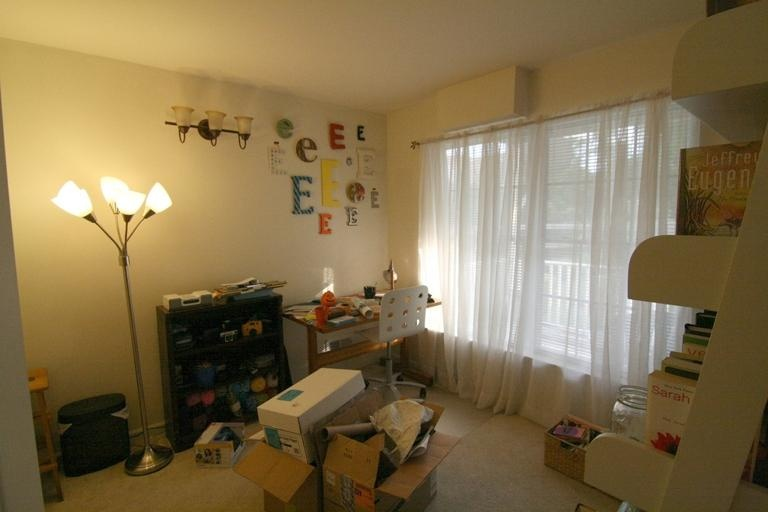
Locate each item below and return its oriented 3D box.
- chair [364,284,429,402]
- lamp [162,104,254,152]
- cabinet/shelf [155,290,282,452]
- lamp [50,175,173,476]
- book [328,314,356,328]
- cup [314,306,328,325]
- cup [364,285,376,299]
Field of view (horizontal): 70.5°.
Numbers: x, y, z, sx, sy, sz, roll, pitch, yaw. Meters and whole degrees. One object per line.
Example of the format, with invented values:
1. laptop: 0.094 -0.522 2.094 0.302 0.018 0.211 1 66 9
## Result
1. chair: 0.016 0.752 4.738 0.639 1.019 0.661 -6 7 -27
2. lamp: -1.328 -0.990 4.242 0.704 0.257 0.201 -2 11 -40
3. cabinet/shelf: -1.279 0.882 4.063 0.400 1.275 1.078 -1 3 42
4. lamp: -1.844 0.474 3.876 0.754 2.054 0.614 -4 7 -21
5. book: -0.320 0.521 4.329 0.124 0.068 0.318 3 7 39
6. cup: -0.483 0.474 4.249 0.122 0.141 0.123 0 3 0
7. cup: -0.125 0.341 4.976 0.108 0.098 0.089 -3 5 -8
